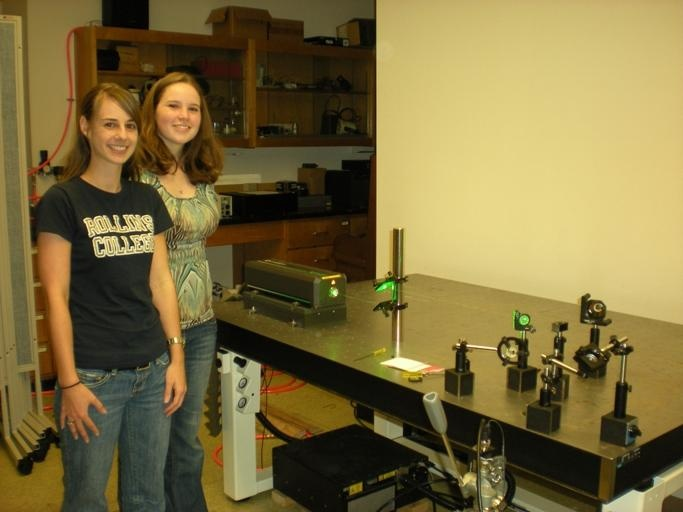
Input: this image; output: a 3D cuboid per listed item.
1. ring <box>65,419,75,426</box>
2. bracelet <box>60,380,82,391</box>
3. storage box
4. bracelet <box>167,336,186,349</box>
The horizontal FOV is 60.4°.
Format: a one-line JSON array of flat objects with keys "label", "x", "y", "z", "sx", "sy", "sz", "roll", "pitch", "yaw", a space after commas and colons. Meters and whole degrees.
[{"label": "ring", "x": -0.786, "y": 0.478, "z": 1.684, "sx": 0.021, "sy": 0.005, "sz": 0.021, "roll": 1, "pitch": 6, "yaw": 0}, {"label": "bracelet", "x": -0.774, "y": 0.367, "z": 1.670, "sx": 0.052, "sy": 0.028, "sz": 0.033, "roll": -5, "pitch": 12, "yaw": -24}, {"label": "storage box", "x": -0.782, "y": -2.101, "z": 5.363, "sx": 0.896, "sy": 0.264, "sz": 0.328, "roll": -3, "pitch": 11, "yaw": -14}, {"label": "bracelet", "x": -0.547, "y": 0.282, "z": 1.932, "sx": 0.044, "sy": 0.030, "sz": 0.046, "roll": -7, "pitch": -7, "yaw": 24}]
